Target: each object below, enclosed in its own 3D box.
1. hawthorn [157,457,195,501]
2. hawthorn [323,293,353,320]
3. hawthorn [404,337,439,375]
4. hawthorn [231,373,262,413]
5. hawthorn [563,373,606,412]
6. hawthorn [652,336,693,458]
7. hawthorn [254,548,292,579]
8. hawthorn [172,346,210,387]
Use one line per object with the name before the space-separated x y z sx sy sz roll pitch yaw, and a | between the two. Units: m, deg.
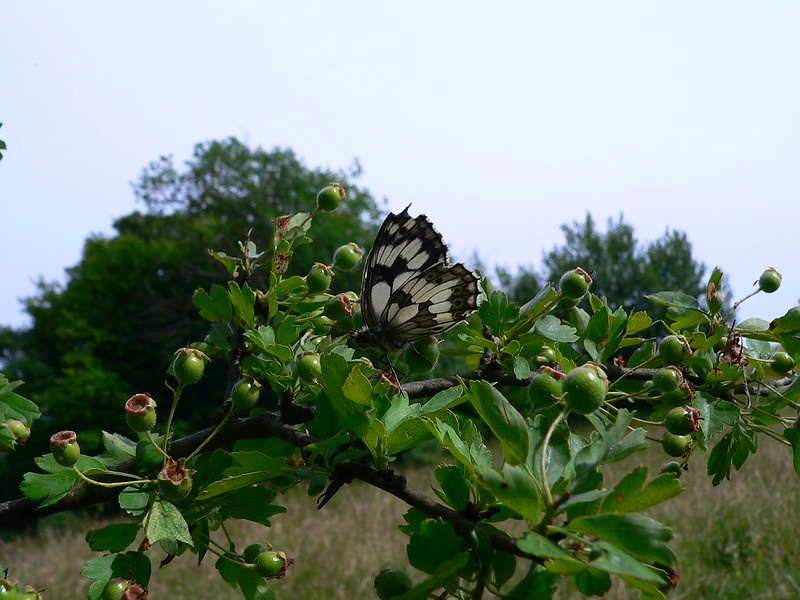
hawthorn | -1.624 1.326 7.060 0.233 0.240 0.238 10 20 5
hawthorn | -0.468 0.046 7.511 0.160 0.165 0.214 52 20 13
hawthorn | 0.182 0.420 7.582 0.221 0.278 0.184 50 7 -35
hawthorn | -1.101 0.709 7.257 0.196 0.293 0.260 3 -18 29
hawthorn | 1.292 0.619 6.719 0.225 0.335 0.262 3 1 9
hawthorn | 2.064 0.692 7.354 0.270 0.978 0.285 2 -4 -28
hawthorn | -0.946 1.954 7.282 0.212 0.199 0.148 7 3 -3
hawthorn | -1.590 0.466 7.198 0.232 0.306 0.251 7 12 10
